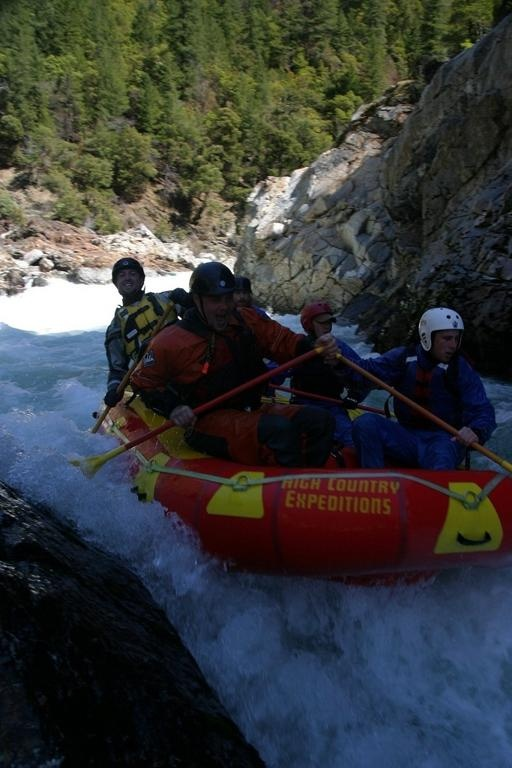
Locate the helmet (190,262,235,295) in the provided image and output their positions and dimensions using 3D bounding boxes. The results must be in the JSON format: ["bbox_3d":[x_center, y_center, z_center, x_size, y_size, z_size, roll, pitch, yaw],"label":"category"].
[{"bbox_3d":[-0.229,-0.559,3.359,0.177,0.112,0.230,-12,15,-32],"label":"helmet"}]

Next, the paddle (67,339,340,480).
[{"bbox_3d":[-0.262,0.152,3.673,1.553,0.201,0.219,-28,46,-17],"label":"paddle"}]

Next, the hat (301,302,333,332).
[{"bbox_3d":[0.352,-0.465,4.282,0.185,0.124,0.244,-4,-22,-47],"label":"hat"}]

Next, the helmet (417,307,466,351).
[{"bbox_3d":[0.981,-0.304,3.389,0.202,0.219,0.255,-6,16,-21],"label":"helmet"}]

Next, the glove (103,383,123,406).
[{"bbox_3d":[-0.942,0.087,4.316,0.184,0.047,0.100,-41,45,-3],"label":"glove"}]

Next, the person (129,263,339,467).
[{"bbox_3d":[-0.081,0.024,3.512,1.204,1.258,0.746,5,19,27],"label":"person"}]

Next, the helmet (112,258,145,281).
[{"bbox_3d":[-1.024,-0.936,5.113,0.192,0.089,0.251,-7,-14,-5],"label":"helmet"}]
